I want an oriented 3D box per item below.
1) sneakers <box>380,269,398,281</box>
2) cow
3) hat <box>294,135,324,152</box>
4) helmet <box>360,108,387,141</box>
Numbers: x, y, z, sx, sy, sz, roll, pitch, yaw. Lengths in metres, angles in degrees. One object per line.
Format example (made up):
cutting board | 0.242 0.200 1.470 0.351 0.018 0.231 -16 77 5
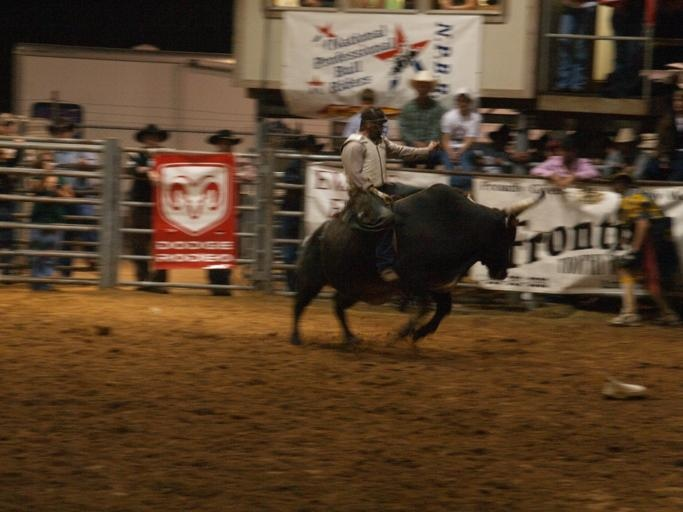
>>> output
sneakers | 0.503 0.199 10.964 0.170 0.127 0.053 2 4 -1
cow | 0.965 0.113 11.492 1.320 1.626 3.612 -8 5 -44
hat | -0.463 -1.574 14.901 0.385 0.164 0.397 0 0 -17
helmet | 0.330 -1.370 11.137 0.266 0.357 0.300 2 4 -1
